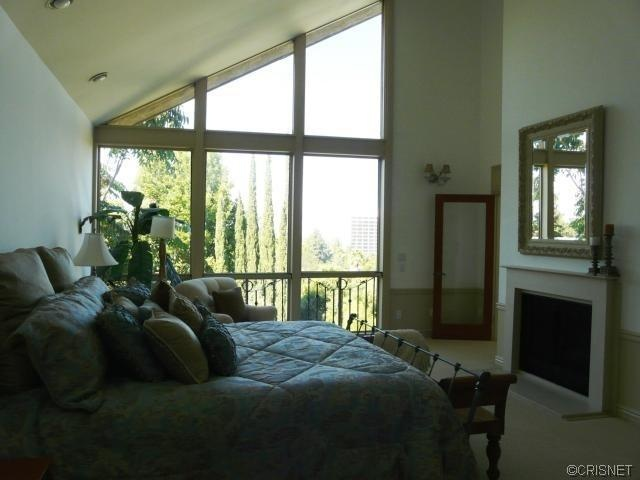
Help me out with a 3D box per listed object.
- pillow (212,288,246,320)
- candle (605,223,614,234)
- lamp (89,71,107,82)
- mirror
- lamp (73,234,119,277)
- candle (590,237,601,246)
[{"bbox_3d":[-0.959,0.667,5.427,0.272,0.321,0.116,-1,-22,-44],"label":"pillow"},{"bbox_3d":[2.687,-0.107,4.836,0.079,0.101,0.083,0,-2,14],"label":"candle"},{"bbox_3d":[-2.231,-1.626,5.232,0.214,0.078,0.165,3,3,31],"label":"lamp"},{"bbox_3d":[2.538,-0.608,5.391,0.186,1.841,1.523,2,-4,-14],"label":"mirror"},{"bbox_3d":[-2.193,0.161,5.077,0.451,0.490,0.445,3,5,-4],"label":"lamp"},{"bbox_3d":[2.608,0.010,4.933,0.068,0.055,0.073,0,-4,11],"label":"candle"}]
